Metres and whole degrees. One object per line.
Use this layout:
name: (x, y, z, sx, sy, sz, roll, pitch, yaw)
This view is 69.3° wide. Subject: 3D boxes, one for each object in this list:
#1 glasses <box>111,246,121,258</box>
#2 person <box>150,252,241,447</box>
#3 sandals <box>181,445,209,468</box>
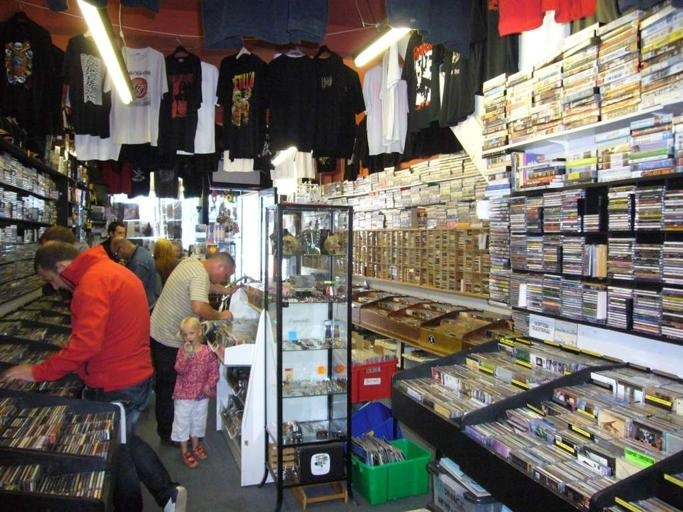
glasses: (-2.740, -0.061, 6.012, 0.077, 0.093, 0.104, 15, -29, 10)
person: (-1.437, 0.981, 4.870, 1.025, 2.016, 0.918, -4, 36, -33)
sandals: (-1.389, 1.885, 4.663, 0.140, 0.062, 0.197, -1, 9, -35)
